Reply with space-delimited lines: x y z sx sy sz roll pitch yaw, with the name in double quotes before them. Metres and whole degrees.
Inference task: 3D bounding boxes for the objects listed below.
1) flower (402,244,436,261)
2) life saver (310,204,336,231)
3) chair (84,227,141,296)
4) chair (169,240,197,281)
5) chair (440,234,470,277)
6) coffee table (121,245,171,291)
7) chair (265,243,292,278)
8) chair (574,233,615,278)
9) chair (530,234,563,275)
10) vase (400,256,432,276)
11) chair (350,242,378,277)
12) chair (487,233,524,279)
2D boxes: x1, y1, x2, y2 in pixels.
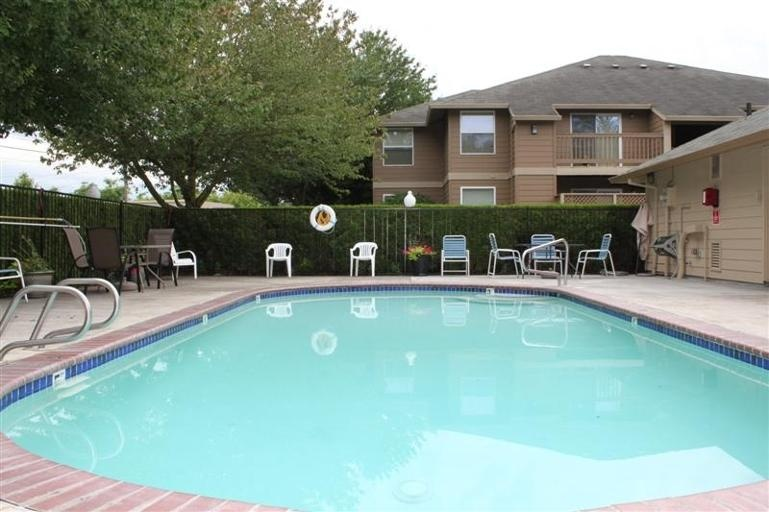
"flower" 0.839 -0.100 15.464 0.506 0.314 0.506 0 1 -26
"life saver" -1.634 -0.980 15.579 0.720 0.739 0.355 -2 14 -7
"chair" -5.267 0.082 11.336 0.843 1.319 1.014 1 1 16
"chair" -4.752 0.115 13.898 0.636 0.915 0.593 -1 1 -9
"chair" 1.860 -0.012 15.563 0.808 1.075 0.904 -1 2 20
"coffee table" -4.971 0.326 12.326 0.723 1.027 0.982 2 -3 -15
"chair" -2.767 0.108 15.403 0.669 0.873 0.653 -2 5 -21
"chair" 5.504 -0.040 15.353 0.915 1.049 0.846 0 10 30
"chair" 4.192 0.030 15.338 0.808 1.124 1.751 4 14 14
"vase" 0.911 0.266 15.602 0.525 0.444 0.600 4 -7 -27
"chair" -0.539 0.061 15.269 0.723 0.894 0.679 -1 2 -8
"chair" 3.129 -0.033 15.360 0.881 1.251 1.221 2 14 10
